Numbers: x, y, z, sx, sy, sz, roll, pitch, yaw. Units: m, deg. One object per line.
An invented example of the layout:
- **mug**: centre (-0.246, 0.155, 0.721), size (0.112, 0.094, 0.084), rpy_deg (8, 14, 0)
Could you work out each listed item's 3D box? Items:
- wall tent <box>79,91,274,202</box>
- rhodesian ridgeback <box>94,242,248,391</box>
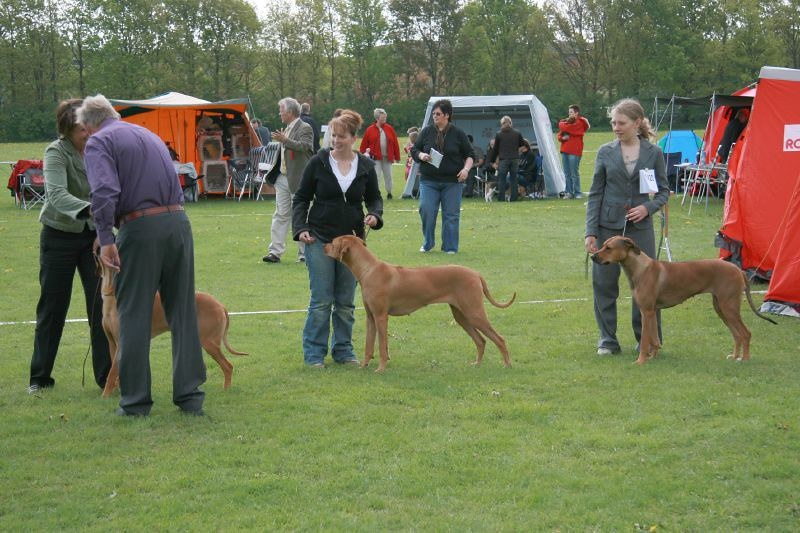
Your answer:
- **wall tent**: centre (-5.809, -3.660, 25.305), size (3.438, 1.584, 3.535), rpy_deg (1, -1, -11)
- **rhodesian ridgeback**: centre (-2.497, 0.659, 10.182), size (1.723, 1.866, 0.920), rpy_deg (-1, -4, 17)
